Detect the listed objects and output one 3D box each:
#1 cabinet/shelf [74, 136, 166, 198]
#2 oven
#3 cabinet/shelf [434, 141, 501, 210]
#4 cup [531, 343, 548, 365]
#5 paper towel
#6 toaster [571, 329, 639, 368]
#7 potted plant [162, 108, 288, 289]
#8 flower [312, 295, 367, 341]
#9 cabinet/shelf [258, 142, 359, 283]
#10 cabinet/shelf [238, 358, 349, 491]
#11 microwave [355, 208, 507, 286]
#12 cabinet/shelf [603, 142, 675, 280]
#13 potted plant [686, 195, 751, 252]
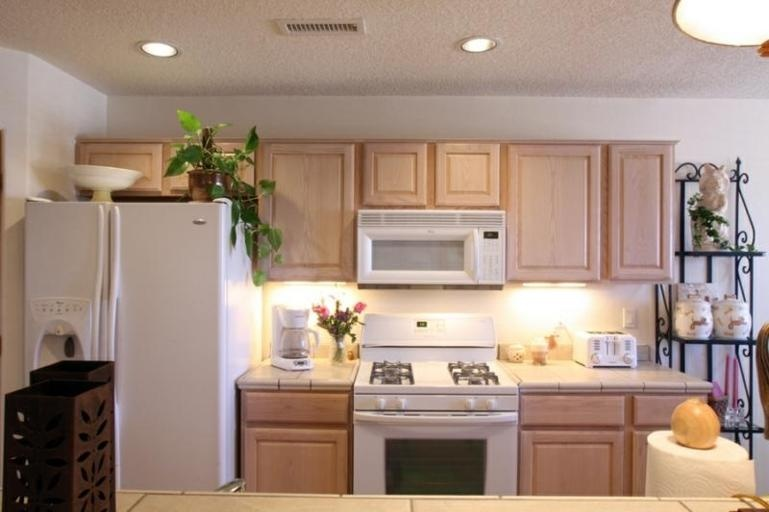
[{"bbox_3d":[-1.711,-0.579,4.565,0.659,0.400,0.333,1,2,7],"label":"cabinet/shelf"},{"bbox_3d":[0.328,1.237,4.254,1.045,0.578,0.660,-1,-18,3],"label":"oven"},{"bbox_3d":[0.552,-0.532,4.391,0.483,0.409,0.231,0,-4,1],"label":"cabinet/shelf"},{"bbox_3d":[1.044,0.651,4.514,0.139,0.144,0.131,1,0,0],"label":"cup"},{"bbox_3d":[1.480,0.982,3.192,0.455,0.263,0.442,-1,7,5],"label":"paper towel"},{"bbox_3d":[1.521,0.619,4.573,0.452,0.186,0.427,-1,0,-39],"label":"toaster"},{"bbox_3d":[-1.047,-0.379,4.266,0.758,0.957,0.567,5,6,9],"label":"potted plant"},{"bbox_3d":[-0.277,0.404,4.519,0.282,0.218,0.251,-10,23,-17],"label":"flower"},{"bbox_3d":[-0.446,-0.306,4.668,0.879,1.174,0.832,0,-2,-1],"label":"cabinet/shelf"},{"bbox_3d":[-0.507,1.061,4.393,0.799,0.997,0.691,0,-5,0],"label":"cabinet/shelf"},{"bbox_3d":[0.420,-0.027,4.556,1.120,0.525,0.541,0,-2,32],"label":"microwave"},{"bbox_3d":[1.646,-0.294,4.587,0.563,0.935,0.571,0,3,3],"label":"cabinet/shelf"},{"bbox_3d":[2.267,-0.224,4.577,0.340,0.607,0.255,-5,13,37],"label":"potted plant"}]
